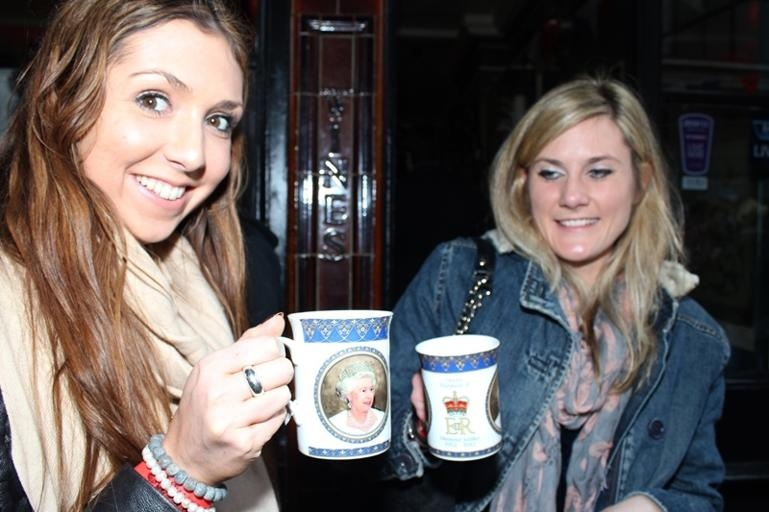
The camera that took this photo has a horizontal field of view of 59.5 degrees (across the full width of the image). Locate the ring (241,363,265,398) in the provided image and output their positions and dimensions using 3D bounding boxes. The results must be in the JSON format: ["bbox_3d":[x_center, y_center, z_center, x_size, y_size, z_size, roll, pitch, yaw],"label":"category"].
[{"bbox_3d":[-0.412,0.388,2.092,0.044,0.091,0.023,-14,10,22],"label":"ring"}]
